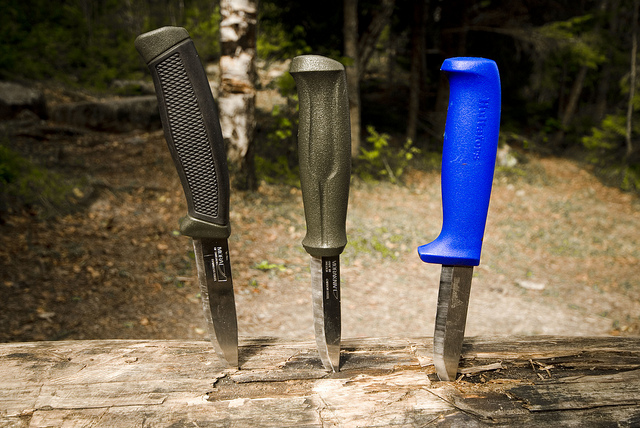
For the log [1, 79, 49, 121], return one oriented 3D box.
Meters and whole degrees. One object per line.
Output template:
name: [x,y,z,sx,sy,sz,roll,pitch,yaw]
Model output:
log: [-2.371,-0.915,5.596,0.344,0.329,0.086,-8,27,-19]
